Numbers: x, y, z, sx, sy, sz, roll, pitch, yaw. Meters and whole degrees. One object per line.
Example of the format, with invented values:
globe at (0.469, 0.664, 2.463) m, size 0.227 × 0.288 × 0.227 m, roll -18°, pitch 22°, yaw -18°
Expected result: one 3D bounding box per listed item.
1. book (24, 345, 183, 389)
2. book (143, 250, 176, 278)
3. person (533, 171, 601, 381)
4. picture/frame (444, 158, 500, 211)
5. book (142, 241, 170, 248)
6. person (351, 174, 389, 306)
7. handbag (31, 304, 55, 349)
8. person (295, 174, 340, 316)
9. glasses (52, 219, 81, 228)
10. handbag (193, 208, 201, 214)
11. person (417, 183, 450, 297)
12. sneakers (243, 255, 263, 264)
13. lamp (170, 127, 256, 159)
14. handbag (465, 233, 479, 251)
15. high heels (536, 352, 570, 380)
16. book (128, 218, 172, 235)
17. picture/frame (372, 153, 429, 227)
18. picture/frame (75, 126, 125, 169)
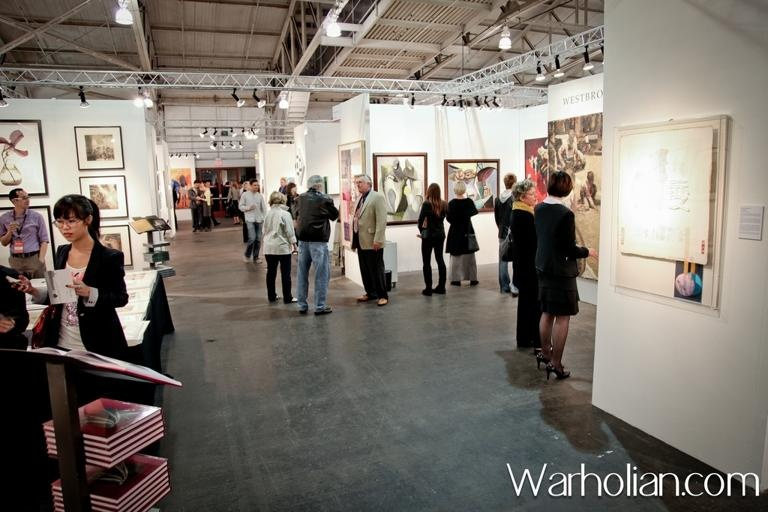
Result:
book at (-1.588, 0.639, 2.788) m, size 0.778 × 0.314 × 0.333 m, roll -1°, pitch 12°, yaw 3°
book at (-4.325, 0.155, 9.298) m, size 0.355 × 0.433 × 0.439 m, roll -9°, pitch 18°, yaw -30°
person at (1.781, 0.228, 4.931) m, size 0.549 × 2.134 × 0.366 m, roll 5°, pitch 13°, yaw 32°
picture/frame at (1.701, -1.461, 9.648) m, size 1.163 × 1.067 × 0.114 m, roll -4°, pitch 7°, yaw -18°
book at (-4.343, -0.212, 9.193) m, size 0.306 × 0.074 × 0.291 m, roll 1°, pitch 3°, yaw 34°
person at (-0.211, -0.256, 7.688) m, size 0.656 × 2.040 × 0.413 m, roll 7°, pitch 14°, yaw 37°
handbag at (-2.518, 0.524, 3.596) m, size 0.096 × 0.287 × 0.201 m, roll 7°, pitch -27°, yaw -5°
person at (-1.023, -0.174, 7.358) m, size 0.676 × 2.022 × 0.572 m, roll -3°, pitch 11°, yaw -6°
glasses at (-2.360, -0.249, 3.589) m, size 0.247 × 0.060 × 0.110 m, roll 4°, pitch 14°, yaw 25°
handbag at (-7.250, -1.758, 18.790) m, size 0.231 × 0.231 × 0.058 m, roll 4°, pitch 9°, yaw 24°
person at (0.813, -0.281, 8.192) m, size 0.448 × 1.867 × 0.537 m, roll 6°, pitch 13°, yaw 33°
sneakers at (-3.150, 0.074, 11.605) m, size 0.501 × 0.234 × 0.176 m, roll 2°, pitch 2°, yaw 14°
lamp at (-8.192, -5.371, 23.280) m, size 3.854 × 1.592 × 2.477 m, roll -8°, pitch 14°, yaw -24°
handbag at (1.512, -0.240, 8.446) m, size 0.293 × 0.313 × 0.113 m, roll -6°, pitch 0°, yaw -44°
high heels at (1.783, 1.184, 5.168) m, size 0.297 × 0.217 × 0.216 m, roll -5°, pitch 8°, yaw -10°
book at (-4.259, -0.576, 8.883) m, size 0.531 × 0.237 × 0.774 m, roll -6°, pitch 13°, yaw -17°
picture/frame at (0.263, -1.283, 9.204) m, size 1.379 × 1.806 × 0.113 m, roll -4°, pitch 11°, yaw -18°
picture/frame at (-5.609, -2.160, 9.511) m, size 0.790 × 0.836 × 0.055 m, roll -5°, pitch 10°, yaw -26°
